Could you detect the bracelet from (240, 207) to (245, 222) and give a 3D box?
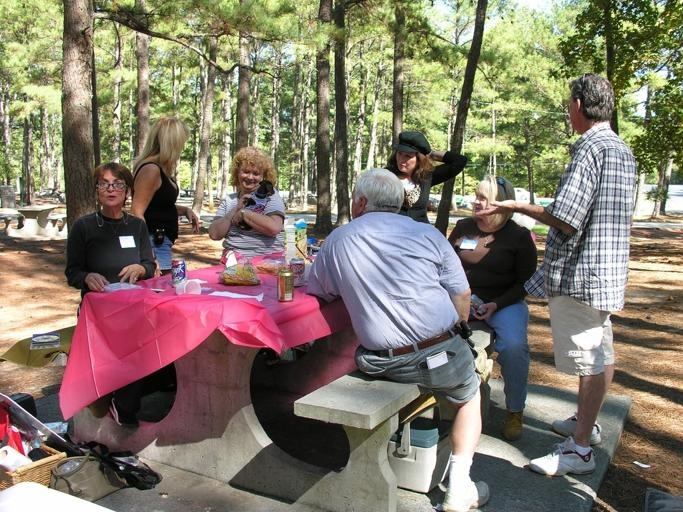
[{"bbox_3d":[-0.874,-0.356,4.369,0.039,0.118,0.084,0,9,-19],"label":"bracelet"}]

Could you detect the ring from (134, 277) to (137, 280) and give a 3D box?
[{"bbox_3d":[-1.521,0.168,3.660,0.007,0.018,0.028,11,4,25],"label":"ring"}]

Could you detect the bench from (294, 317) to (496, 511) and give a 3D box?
[{"bbox_3d":[0.265,1.069,2.995,0.622,0.628,1.155,11,12,43],"label":"bench"}]

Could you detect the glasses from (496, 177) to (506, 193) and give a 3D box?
[{"bbox_3d":[1.354,-0.608,4.259,0.085,0.118,0.040,15,-31,-36],"label":"glasses"}]

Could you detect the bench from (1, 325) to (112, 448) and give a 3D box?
[{"bbox_3d":[-2.419,1.058,4.204,0.783,0.214,0.734,3,15,35],"label":"bench"}]

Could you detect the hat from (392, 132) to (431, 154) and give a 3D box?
[{"bbox_3d":[0.696,-1.101,4.817,0.319,0.235,0.345,5,9,11],"label":"hat"}]

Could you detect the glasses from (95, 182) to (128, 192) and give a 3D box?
[{"bbox_3d":[-1.674,-0.506,3.619,0.186,0.075,0.083,-1,10,-28],"label":"glasses"}]

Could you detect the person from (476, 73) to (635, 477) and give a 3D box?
[{"bbox_3d":[1.615,0.138,3.460,0.638,2.767,0.550,8,10,28],"label":"person"}]

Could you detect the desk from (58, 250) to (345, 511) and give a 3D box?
[{"bbox_3d":[-0.922,0.806,3.175,1.429,0.830,1.638,6,4,25],"label":"desk"}]

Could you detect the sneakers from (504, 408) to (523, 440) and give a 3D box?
[{"bbox_3d":[1.368,1.350,3.951,0.099,0.116,0.294,0,5,10],"label":"sneakers"}]

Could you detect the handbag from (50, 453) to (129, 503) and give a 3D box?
[{"bbox_3d":[-1.565,1.344,3.039,0.231,0.123,0.342,4,-8,24],"label":"handbag"}]

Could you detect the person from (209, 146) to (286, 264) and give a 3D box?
[{"bbox_3d":[-0.838,-0.471,4.456,0.663,0.994,0.568,2,9,-8],"label":"person"}]

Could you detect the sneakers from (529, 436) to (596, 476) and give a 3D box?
[{"bbox_3d":[1.557,1.446,3.584,0.560,0.256,0.193,0,-3,0],"label":"sneakers"}]
